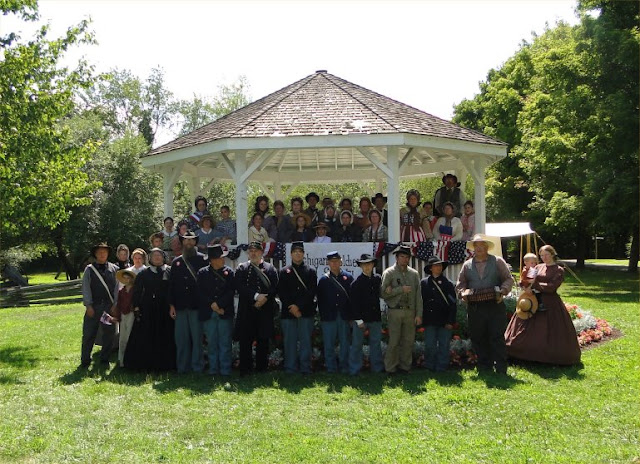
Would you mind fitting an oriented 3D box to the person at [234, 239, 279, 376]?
[{"bbox_3d":[-1.362,1.594,13.125,0.893,2.707,0.572,-2,8,-8],"label":"person"}]

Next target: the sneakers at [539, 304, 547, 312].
[{"bbox_3d":[4.681,1.589,13.060,0.132,0.245,0.131,-2,-3,13],"label":"sneakers"}]

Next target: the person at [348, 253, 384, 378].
[{"bbox_3d":[0.959,1.852,12.940,0.711,2.096,0.506,-1,8,1],"label":"person"}]

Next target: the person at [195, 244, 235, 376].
[{"bbox_3d":[-2.221,1.639,13.208,0.793,2.702,0.569,0,8,7],"label":"person"}]

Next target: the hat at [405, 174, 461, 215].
[{"bbox_3d":[3.372,-0.998,16.486,0.820,1.046,1.069,1,8,13],"label":"hat"}]

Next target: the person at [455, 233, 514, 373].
[{"bbox_3d":[3.382,1.493,12.766,1.031,2.657,0.553,2,8,18],"label":"person"}]

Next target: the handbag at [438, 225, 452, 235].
[{"bbox_3d":[3.019,-0.046,15.001,0.321,0.248,0.185,-1,-7,29],"label":"handbag"}]

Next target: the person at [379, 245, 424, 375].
[{"bbox_3d":[1.701,1.622,12.908,0.877,2.527,0.561,-1,8,-3],"label":"person"}]

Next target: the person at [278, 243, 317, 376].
[{"bbox_3d":[-0.485,1.596,13.075,0.810,2.699,0.532,-1,8,-5],"label":"person"}]

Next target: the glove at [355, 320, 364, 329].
[{"bbox_3d":[0.813,1.879,12.711,0.150,0.140,0.125,-6,-4,32],"label":"glove"}]
